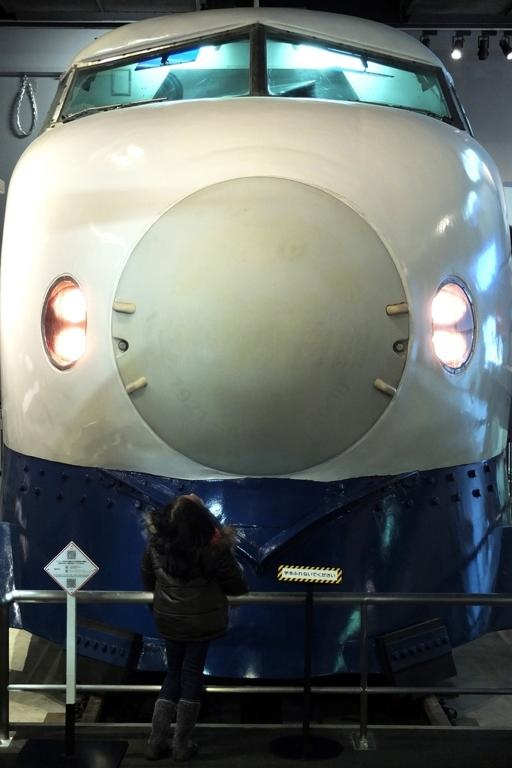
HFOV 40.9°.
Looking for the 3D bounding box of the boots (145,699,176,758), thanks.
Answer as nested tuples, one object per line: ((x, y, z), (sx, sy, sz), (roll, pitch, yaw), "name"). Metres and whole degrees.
((-0.311, 1.139, 2.269), (0.091, 0.192, 0.090), (7, -14, -27), "boots")

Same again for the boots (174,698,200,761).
((-0.231, 1.137, 2.258), (0.081, 0.193, 0.096), (2, -13, -5), "boots")

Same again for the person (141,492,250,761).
((-0.215, 0.805, 2.289), (0.351, 0.844, 0.260), (2, -13, -5), "person")
